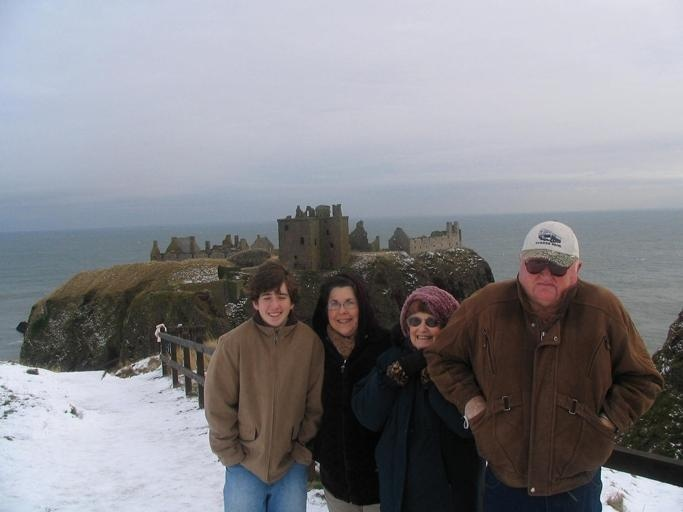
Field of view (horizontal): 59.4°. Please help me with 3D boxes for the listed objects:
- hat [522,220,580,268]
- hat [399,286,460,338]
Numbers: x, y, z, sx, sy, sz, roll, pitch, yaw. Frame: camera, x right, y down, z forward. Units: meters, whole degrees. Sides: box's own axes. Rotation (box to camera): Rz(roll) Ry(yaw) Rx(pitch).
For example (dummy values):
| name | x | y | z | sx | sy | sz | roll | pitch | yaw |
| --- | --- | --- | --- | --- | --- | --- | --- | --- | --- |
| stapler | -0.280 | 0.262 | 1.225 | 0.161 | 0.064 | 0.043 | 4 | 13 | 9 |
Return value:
| name | x | y | z | sx | sy | sz | roll | pitch | yaw |
| --- | --- | --- | --- | --- | --- | --- | --- | --- | --- |
| hat | 2.114 | -0.189 | 6.036 | 0.501 | 0.365 | 0.712 | 8 | 17 | 30 |
| hat | 0.930 | 0.590 | 6.453 | 0.438 | 0.516 | 0.550 | 1 | -5 | -32 |
